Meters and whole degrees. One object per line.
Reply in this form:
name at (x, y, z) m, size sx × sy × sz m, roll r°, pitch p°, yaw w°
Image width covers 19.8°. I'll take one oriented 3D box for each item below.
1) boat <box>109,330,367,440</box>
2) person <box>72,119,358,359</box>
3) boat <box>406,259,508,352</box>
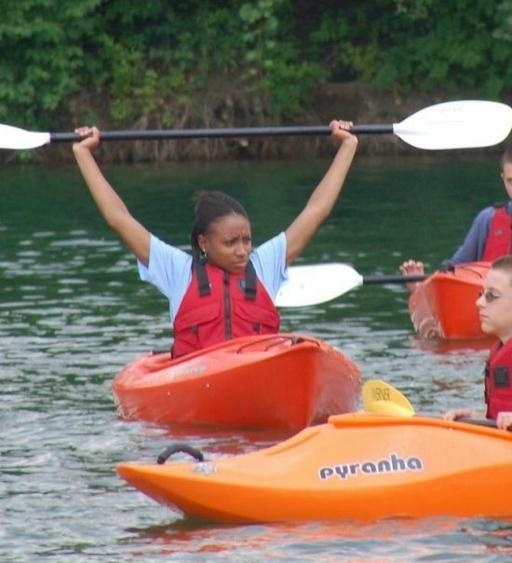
boat at (-0.107, 0.502, 6.922) m, size 0.550 × 0.281 × 0.836 m, roll -1°, pitch -5°, yaw -45°
person at (-0.186, -0.170, 7.111) m, size 1.360 × 1.079 × 0.548 m, roll -1°, pitch 9°, yaw 3°
boat at (1.108, 0.137, 7.996) m, size 0.496 × 0.323 × 0.975 m, roll -1°, pitch -3°, yaw 4°
